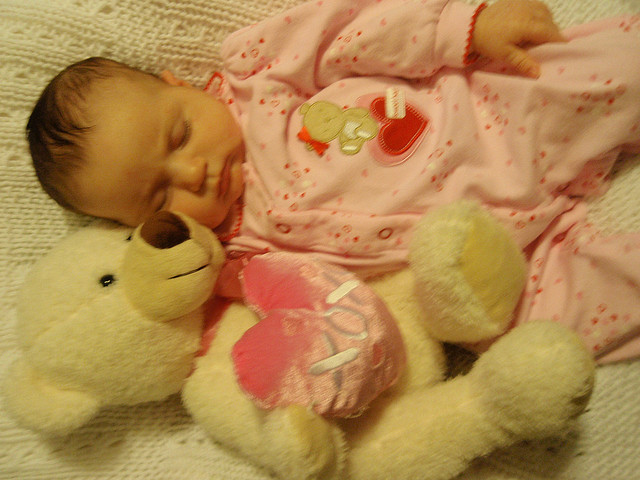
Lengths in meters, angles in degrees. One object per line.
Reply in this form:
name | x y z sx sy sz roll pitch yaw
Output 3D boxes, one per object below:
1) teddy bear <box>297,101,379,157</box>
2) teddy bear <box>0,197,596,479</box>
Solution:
teddy bear | 0.030 -0.245 1.380 0.194 0.086 0.126 18 46 8
teddy bear | -0.059 0.201 1.208 1.291 0.395 0.479 1 49 3
